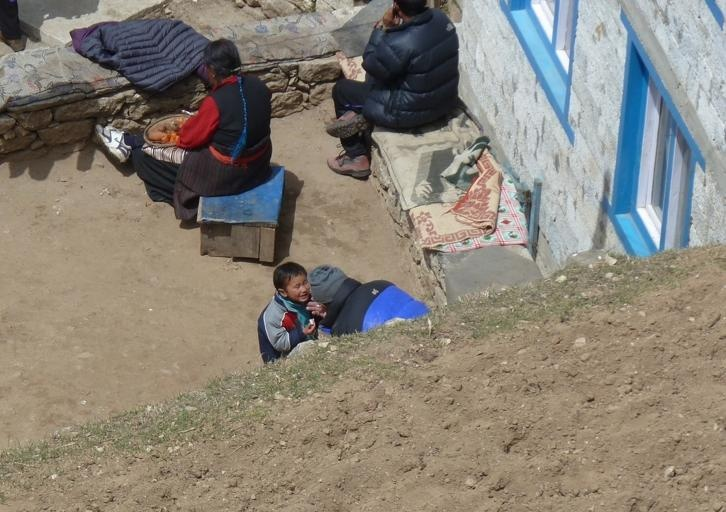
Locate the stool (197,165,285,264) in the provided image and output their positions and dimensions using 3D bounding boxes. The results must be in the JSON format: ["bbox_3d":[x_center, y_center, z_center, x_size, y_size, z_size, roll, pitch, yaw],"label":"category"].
[{"bbox_3d":[-1.256,-0.350,18.681,0.701,0.375,1.122,3,38,-2],"label":"stool"}]

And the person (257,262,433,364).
[{"bbox_3d":[-0.251,0.510,17.064,1.302,0.614,0.959,1,25,23],"label":"person"}]

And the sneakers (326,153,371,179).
[{"bbox_3d":[-0.127,-0.947,19.783,0.526,0.261,0.192,17,41,21],"label":"sneakers"}]

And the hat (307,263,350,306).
[{"bbox_3d":[-0.290,0.273,17.264,0.446,0.235,0.569,-5,22,-2],"label":"hat"}]
